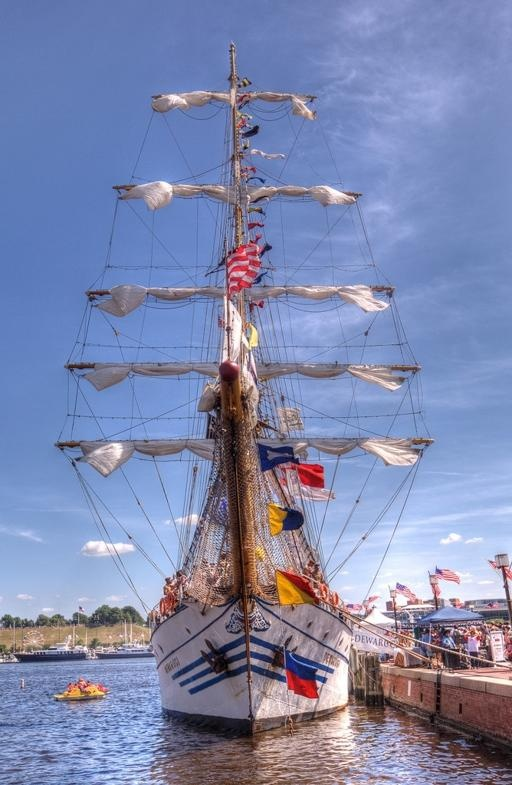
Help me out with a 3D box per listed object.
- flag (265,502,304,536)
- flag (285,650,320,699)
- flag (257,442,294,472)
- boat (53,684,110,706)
[{"bbox_3d":[0.784,3.339,21.391,0.886,0.741,0.841,-1,-17,-1],"label":"flag"},{"bbox_3d":[1.187,7.508,21.650,0.965,1.198,0.583,-6,-18,14],"label":"flag"},{"bbox_3d":[0.567,1.726,22.204,0.953,0.837,0.938,-3,-18,6],"label":"flag"},{"bbox_3d":[-9.981,17.080,45.940,2.649,0.915,1.610,3,-17,-6],"label":"boat"}]
